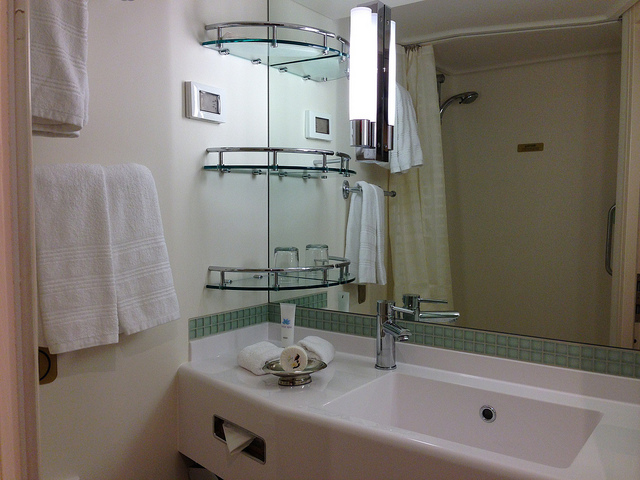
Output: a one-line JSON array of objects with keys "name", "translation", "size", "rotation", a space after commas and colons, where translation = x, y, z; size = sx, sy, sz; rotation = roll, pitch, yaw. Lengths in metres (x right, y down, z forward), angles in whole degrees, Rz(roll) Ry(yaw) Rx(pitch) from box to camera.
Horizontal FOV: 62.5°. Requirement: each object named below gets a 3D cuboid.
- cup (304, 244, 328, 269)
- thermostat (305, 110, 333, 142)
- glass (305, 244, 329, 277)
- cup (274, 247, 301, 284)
[{"name": "cup", "translation": [-0.013, 0.063, 1.994], "size": [0.075, 0.097, 0.080], "rotation": [1, -6, 0]}, {"name": "thermostat", "translation": [0.001, -0.437, 2.003], "size": [0.110, 0.114, 0.037], "rotation": [-1, 6, -22]}, {"name": "glass", "translation": [-0.013, 0.076, 1.981], "size": [0.113, 0.115, 0.078], "rotation": [2, 10, 19]}, {"name": "cup", "translation": [-0.124, 0.090, 2.036], "size": [0.102, 0.127, 0.143], "rotation": [-2, 9, -5]}]
